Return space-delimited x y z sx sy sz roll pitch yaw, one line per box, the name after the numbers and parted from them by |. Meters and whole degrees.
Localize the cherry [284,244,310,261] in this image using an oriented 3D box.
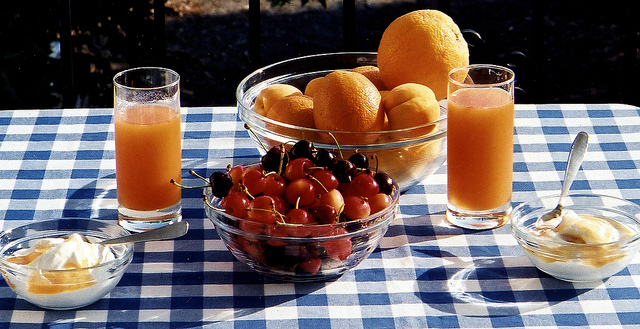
-0.061 0.239 1.536 0.055 0.018 0.044 14 -2 -30 | cherry

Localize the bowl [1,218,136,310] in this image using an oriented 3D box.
-0.711 0.267 1.606 0.375 0.153 0.269 -14 40 -16 | bowl

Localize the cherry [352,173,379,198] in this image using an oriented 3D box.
0.128 0.061 1.573 0.076 0.049 0.057 28 20 26 | cherry

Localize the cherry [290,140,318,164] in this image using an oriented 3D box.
-0.054 -0.036 1.661 0.094 0.083 0.069 10 65 -21 | cherry

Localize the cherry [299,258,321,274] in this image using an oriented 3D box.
-0.024 0.280 1.564 0.053 0.026 0.046 0 4 -1 | cherry

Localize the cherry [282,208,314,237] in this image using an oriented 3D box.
-0.057 0.158 1.523 0.086 0.053 0.061 -2 40 -2 | cherry

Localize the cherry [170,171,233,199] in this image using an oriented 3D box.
-0.269 0.040 1.603 0.249 0.064 0.138 6 11 36 | cherry

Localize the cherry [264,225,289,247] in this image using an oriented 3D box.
-0.118 0.194 1.510 0.059 0.030 0.058 2 0 -2 | cherry

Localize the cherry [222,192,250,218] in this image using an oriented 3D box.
-0.233 0.112 1.560 0.086 0.060 0.089 5 -3 -25 | cherry

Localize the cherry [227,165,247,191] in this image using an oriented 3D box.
-0.243 0.033 1.620 0.072 0.064 0.064 -3 -6 -21 | cherry

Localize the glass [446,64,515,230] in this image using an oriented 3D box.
0.472 -0.046 1.831 0.266 0.496 0.270 -6 8 -45 | glass

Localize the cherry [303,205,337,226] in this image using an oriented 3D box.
0.013 0.137 1.518 0.052 0.031 0.082 1 9 16 | cherry

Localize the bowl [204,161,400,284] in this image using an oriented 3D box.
-0.050 0.166 1.578 0.380 0.123 0.325 0 15 2 | bowl

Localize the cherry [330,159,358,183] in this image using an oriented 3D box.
0.067 0.022 1.597 0.045 0.043 0.049 38 10 -43 | cherry

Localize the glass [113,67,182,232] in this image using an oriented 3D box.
-0.521 -0.058 1.757 0.268 0.469 0.269 -6 17 -22 | glass

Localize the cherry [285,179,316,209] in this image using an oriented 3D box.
-0.052 0.082 1.559 0.095 0.071 0.108 2 0 0 | cherry

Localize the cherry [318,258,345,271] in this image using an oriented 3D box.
0.038 0.284 1.578 0.051 0.039 0.044 4 -19 -16 | cherry

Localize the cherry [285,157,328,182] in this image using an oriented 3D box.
-0.039 0.026 1.657 0.154 0.082 0.070 2 60 6 | cherry

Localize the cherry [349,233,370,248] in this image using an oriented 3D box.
0.116 0.210 1.556 0.040 0.022 0.034 -2 9 -9 | cherry

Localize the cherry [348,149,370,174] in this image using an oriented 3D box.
0.114 -0.019 1.629 0.069 0.042 0.047 10 -10 -17 | cherry

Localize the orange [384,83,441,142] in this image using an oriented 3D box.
0.284 -0.170 1.775 0.216 0.166 0.204 9 25 22 | orange

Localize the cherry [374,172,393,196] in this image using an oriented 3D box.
0.187 0.053 1.617 0.069 0.060 0.059 -1 -11 4 | cherry

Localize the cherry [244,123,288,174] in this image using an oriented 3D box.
-0.153 -0.019 1.593 0.079 0.070 0.079 -13 19 -43 | cherry

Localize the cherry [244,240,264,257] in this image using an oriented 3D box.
-0.178 0.232 1.547 0.050 0.029 0.049 3 0 -9 | cherry

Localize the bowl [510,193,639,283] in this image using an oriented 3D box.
0.743 0.204 1.660 0.351 0.160 0.270 14 41 18 | bowl

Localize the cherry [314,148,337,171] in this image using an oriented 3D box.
0.020 -0.017 1.658 0.059 0.045 0.071 -3 -15 37 | cherry

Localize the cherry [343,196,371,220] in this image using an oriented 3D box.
0.102 0.118 1.559 0.077 0.048 0.055 21 10 29 | cherry
